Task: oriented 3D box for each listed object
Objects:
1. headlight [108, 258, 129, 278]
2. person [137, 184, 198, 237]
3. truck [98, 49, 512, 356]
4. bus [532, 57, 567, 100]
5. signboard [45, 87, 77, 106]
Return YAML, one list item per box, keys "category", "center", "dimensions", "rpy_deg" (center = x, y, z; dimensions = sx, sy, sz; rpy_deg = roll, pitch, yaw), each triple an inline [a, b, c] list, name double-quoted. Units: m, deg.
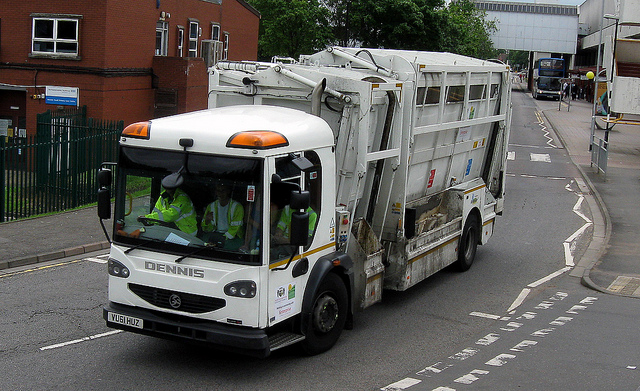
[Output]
- category: "headlight"
  center: [-3.266, 1.196, 8.594]
  dimensions: [0.352, 0.151, 0.266]
  rpy_deg: [11, 2, -14]
- category: "person"
  center: [-2.430, 0.288, 8.452]
  dimensions: [0.933, 0.932, 0.698]
  rpy_deg: [5, 2, -34]
- category: "truck"
  center: [0.485, -0.393, 12.501]
  dimensions: [4.421, 4.774, 10.954]
  rpy_deg: [7, 14, 36]
- category: "bus"
  center: [30.714, -15.675, 71.002]
  dimensions: [2.773, 5.441, 4.844]
  rpy_deg: [5, 15, 9]
- category: "signboard"
  center: [-12.495, -4.832, 25.566]
  dimensions: [1.631, 0.837, 0.281]
  rpy_deg: [7, 15, 15]
